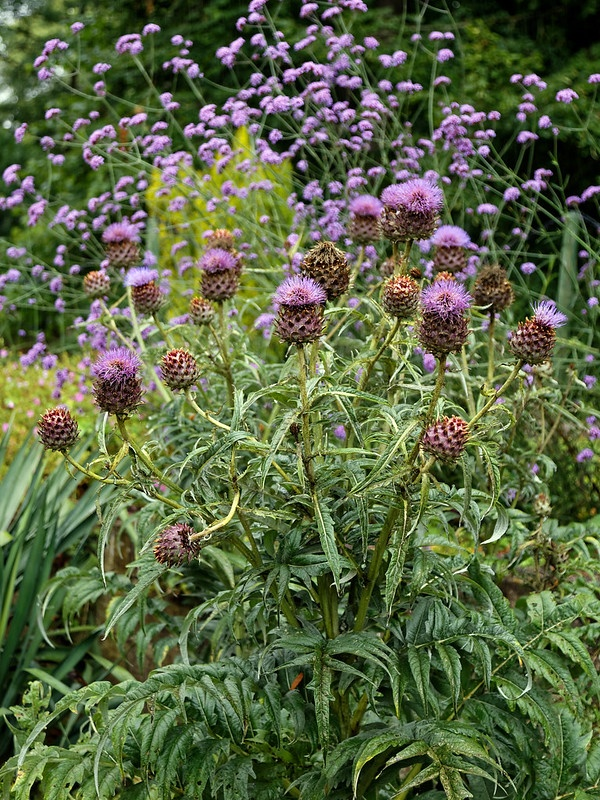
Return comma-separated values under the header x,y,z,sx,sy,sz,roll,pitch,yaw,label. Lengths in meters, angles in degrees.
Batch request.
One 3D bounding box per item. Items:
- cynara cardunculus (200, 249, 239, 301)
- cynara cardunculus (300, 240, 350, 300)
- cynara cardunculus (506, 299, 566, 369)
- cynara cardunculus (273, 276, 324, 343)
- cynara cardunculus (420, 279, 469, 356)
x,y,z,sx,sy,sz,roll,pitch,yaw,label
-0.220,-0.333,2.294,0.122,0.148,0.096,-2,24,-12,cynara cardunculus
0.065,-0.287,1.879,0.128,0.125,0.119,-2,-19,-9,cynara cardunculus
0.534,-0.150,1.891,0.100,0.140,0.092,8,8,-8,cynara cardunculus
0.001,-0.178,1.696,0.120,0.137,0.104,0,2,-16,cynara cardunculus
0.290,-0.161,1.693,0.126,0.153,0.120,-1,3,12,cynara cardunculus
